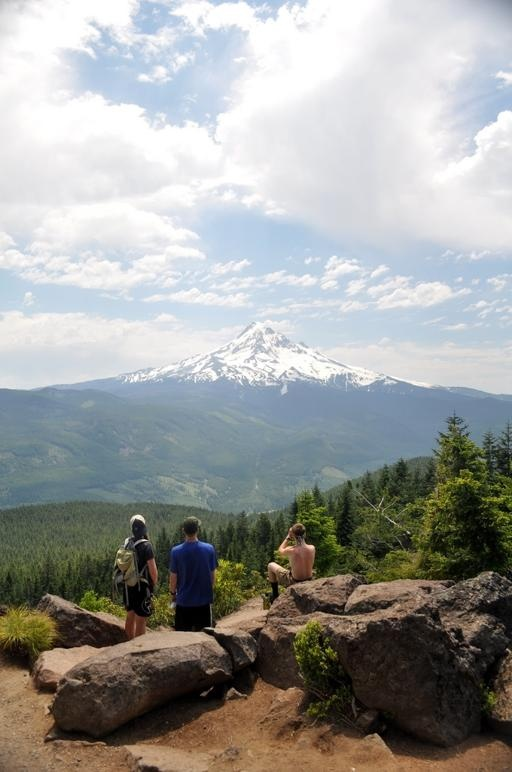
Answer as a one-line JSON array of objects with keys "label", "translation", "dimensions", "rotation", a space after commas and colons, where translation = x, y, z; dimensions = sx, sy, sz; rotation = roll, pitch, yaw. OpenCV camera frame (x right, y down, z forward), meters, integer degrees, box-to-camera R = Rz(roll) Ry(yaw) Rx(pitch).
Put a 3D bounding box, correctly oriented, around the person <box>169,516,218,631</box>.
[{"label": "person", "translation": [-1.525, 5.070, 14.767], "dimensions": [1.150, 3.625, 1.036], "rotation": [-1, 0, -10]}]
